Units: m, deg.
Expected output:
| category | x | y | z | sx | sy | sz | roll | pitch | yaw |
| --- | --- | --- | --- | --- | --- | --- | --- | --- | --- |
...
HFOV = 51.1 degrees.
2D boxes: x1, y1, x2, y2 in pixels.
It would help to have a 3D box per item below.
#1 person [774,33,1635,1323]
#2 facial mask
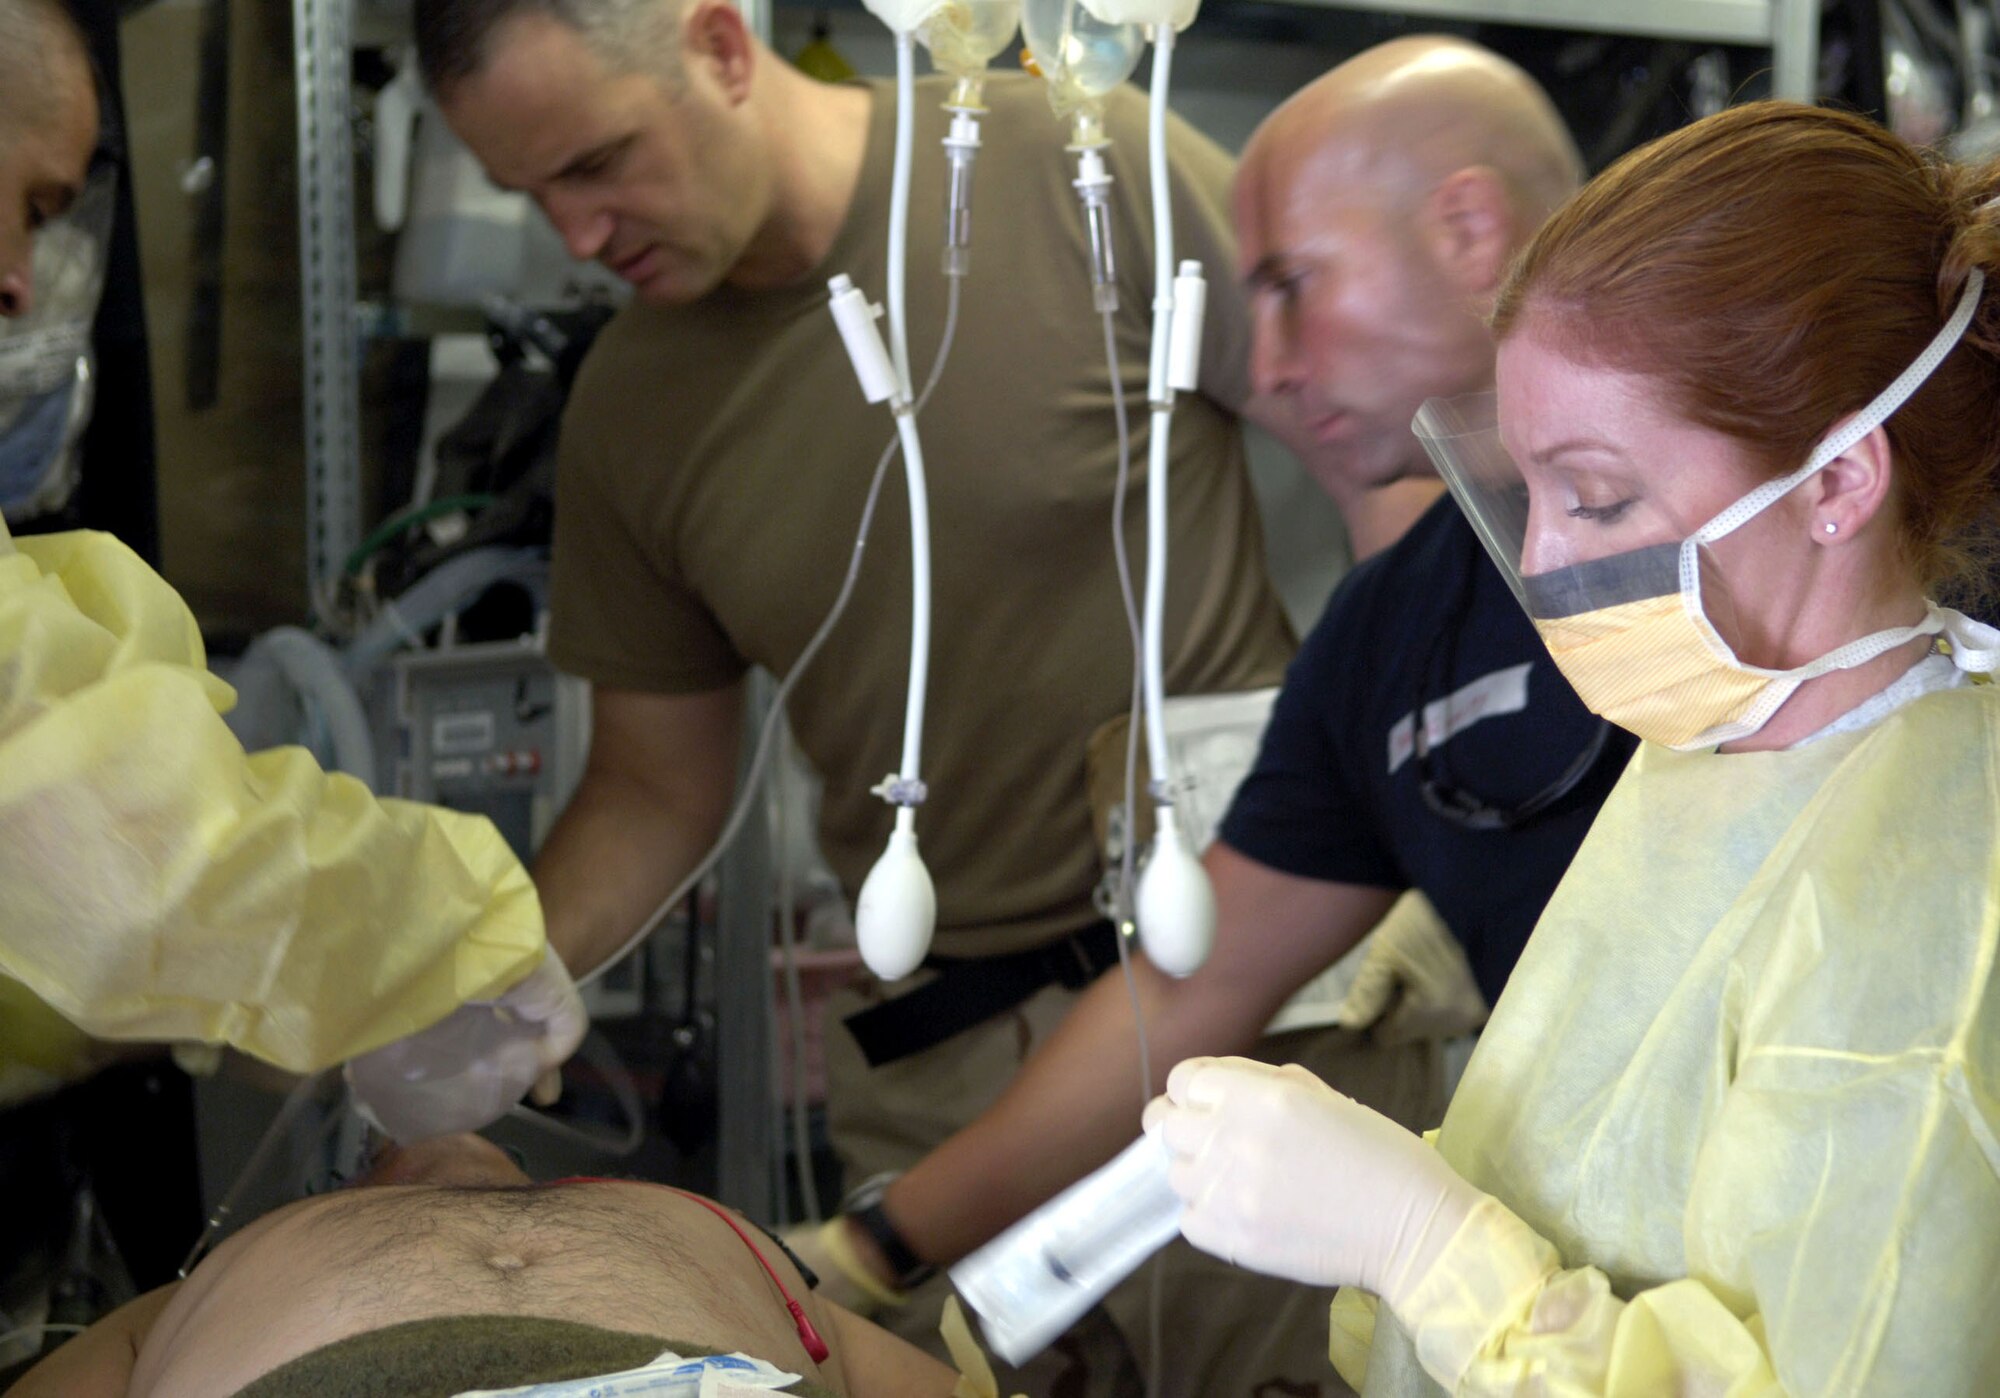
| category | x | y | z | sx | sy | sz | roll | pitch | yaw |
| --- | --- | --- | --- | --- | --- | --- | --- | --- | --- |
| person | 0.323 | 0.056 | 2.640 | 0.711 | 1.688 | 0.725 | 11 | 14 | 9 |
| facial mask | 0.590 | -0.044 | 1.896 | 0.195 | 0.146 | 0.177 | -32 | 12 | 3 |
